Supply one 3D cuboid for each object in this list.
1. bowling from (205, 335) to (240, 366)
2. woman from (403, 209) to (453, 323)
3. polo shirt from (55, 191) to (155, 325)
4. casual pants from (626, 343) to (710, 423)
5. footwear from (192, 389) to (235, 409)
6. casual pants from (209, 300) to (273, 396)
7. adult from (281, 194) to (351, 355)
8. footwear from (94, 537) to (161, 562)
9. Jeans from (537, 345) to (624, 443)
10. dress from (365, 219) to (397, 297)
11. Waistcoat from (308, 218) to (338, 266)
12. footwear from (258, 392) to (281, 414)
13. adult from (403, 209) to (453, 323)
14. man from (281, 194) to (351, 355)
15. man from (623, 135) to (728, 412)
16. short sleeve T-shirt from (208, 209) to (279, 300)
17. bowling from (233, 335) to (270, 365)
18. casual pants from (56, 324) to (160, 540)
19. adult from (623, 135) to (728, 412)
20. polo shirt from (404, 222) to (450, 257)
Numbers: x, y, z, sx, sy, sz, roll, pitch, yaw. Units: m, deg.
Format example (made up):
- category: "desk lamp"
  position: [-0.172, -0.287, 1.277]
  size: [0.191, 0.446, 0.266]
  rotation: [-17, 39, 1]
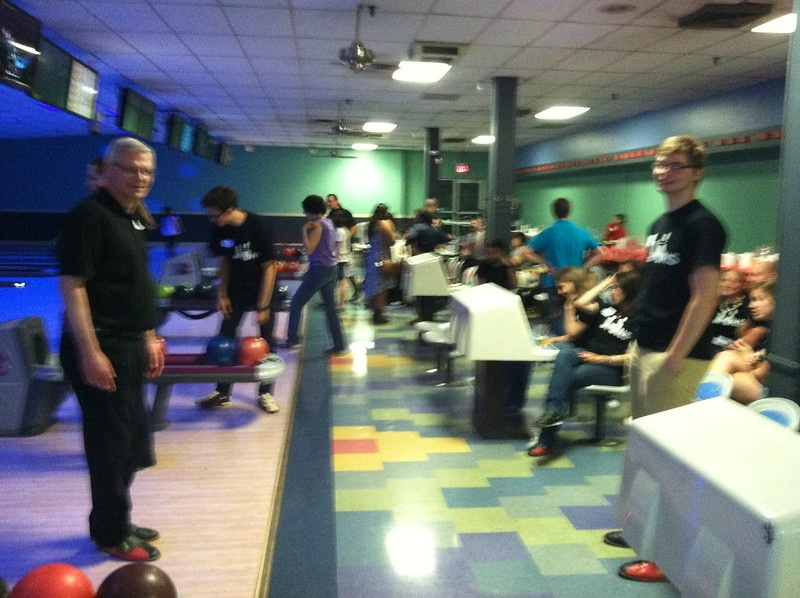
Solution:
- category: "bowling"
  position: [-1.220, 0.355, 4.228]
  size: [0.228, 0.180, 0.200]
  rotation: [0, 1, 9]
- category: "woman"
  position: [0.338, -0.447, 8.470]
  size: [0.596, 1.517, 1.129]
  rotation: [6, 12, 1]
- category: "polo shirt"
  position: [-1.250, -0.150, 2.643]
  size: [0.216, 0.623, 0.360]
  rotation: [11, 13, 22]
- category: "casual pants"
  position: [1.295, 0.400, 2.968]
  size: [0.109, 0.351, 0.423]
  rotation: [10, -7, -38]
- category: "footwear"
  position: [-1.416, 0.769, 4.680]
  size: [0.246, 0.081, 0.118]
  rotation: [3, -3, -11]
- category: "casual pants"
  position: [-1.188, 0.374, 4.943]
  size: [0.345, 0.823, 0.204]
  rotation: [5, -36, -5]
- category: "adult"
  position: [-0.846, -0.237, 6.604]
  size: [0.648, 1.704, 0.791]
  rotation: [5, 12, -6]
- category: "footwear"
  position: [-1.222, 1.122, 2.771]
  size: [0.266, 0.082, 0.116]
  rotation: [2, 0, -8]
- category: "Jeans"
  position: [1.276, 0.593, 4.223]
  size: [0.465, 0.440, 0.378]
  rotation: [9, 12, 16]
- category: "dress"
  position: [-0.264, -0.502, 8.522]
  size: [0.413, 0.972, 0.436]
  rotation: [5, 12, -3]
- category: "Waistcoat"
  position: [-0.783, -0.570, 6.256]
  size: [0.224, 0.481, 0.273]
  rotation: [10, 13, 18]
- category: "footwear"
  position: [-0.995, 0.772, 4.636]
  size: [0.100, 0.062, 0.206]
  rotation: [-9, 19, -22]
- category: "adult"
  position: [0.342, -0.446, 8.466]
  size: [0.595, 1.517, 1.122]
  rotation: [6, 12, 0]
- category: "man"
  position: [-0.849, -0.242, 6.640]
  size: [0.646, 1.707, 0.865]
  rotation: [5, 12, -5]
- category: "man"
  position: [1.300, -0.058, 2.932]
  size: [0.428, 1.389, 0.326]
  rotation: [16, 16, 37]
- category: "short sleeve T-shirt"
  position: [-1.217, -0.300, 4.731]
  size: [0.461, 0.715, 0.197]
  rotation: [4, 13, -9]
- category: "bowling"
  position: [-1.024, 0.361, 4.307]
  size: [0.214, 0.162, 0.192]
  rotation: [-2, -14, 13]
- category: "casual pants"
  position: [-1.316, 0.565, 2.816]
  size: [0.370, 0.948, 0.446]
  rotation: [-2, 8, 7]
- category: "adult"
  position: [1.300, -0.058, 2.932]
  size: [0.428, 1.389, 0.326]
  rotation: [16, 16, 37]
- category: "polo shirt"
  position: [0.364, -0.857, 8.653]
  size: [0.919, 0.515, 0.425]
  rotation: [-3, 14, -6]
